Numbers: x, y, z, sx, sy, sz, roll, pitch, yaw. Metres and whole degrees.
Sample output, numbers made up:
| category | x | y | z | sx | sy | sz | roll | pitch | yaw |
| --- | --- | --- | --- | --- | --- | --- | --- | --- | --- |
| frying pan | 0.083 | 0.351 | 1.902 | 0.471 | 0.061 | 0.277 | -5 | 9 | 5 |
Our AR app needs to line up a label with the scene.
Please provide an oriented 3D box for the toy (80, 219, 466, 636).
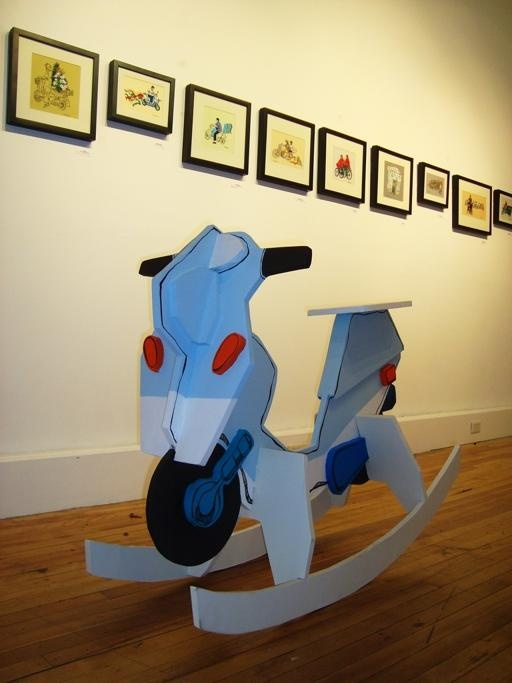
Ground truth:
| category | x | y | z | sx | sy | sz | roll | pitch | yaw |
| --- | --- | --- | --- | --- | --- | --- | --- | --- | --- |
| toy | 0.040 | 0.149 | 1.465 | 0.522 | 0.973 | 1.072 | -1 | 2 | 42 |
